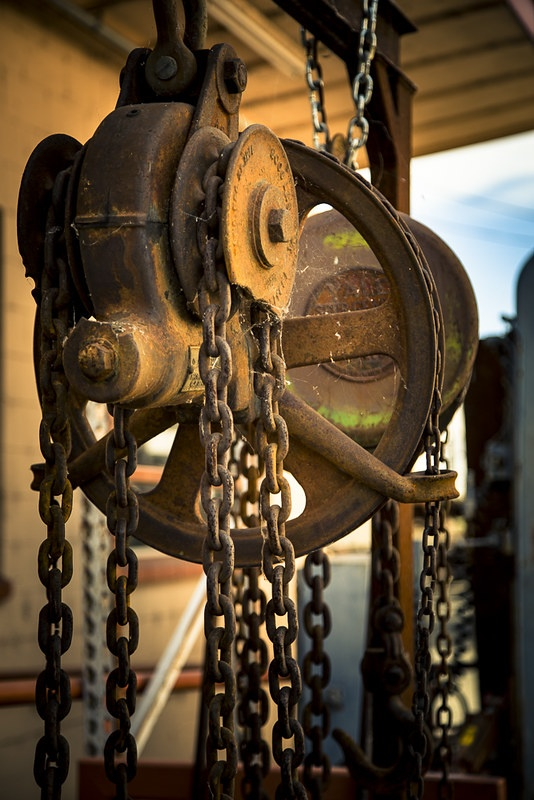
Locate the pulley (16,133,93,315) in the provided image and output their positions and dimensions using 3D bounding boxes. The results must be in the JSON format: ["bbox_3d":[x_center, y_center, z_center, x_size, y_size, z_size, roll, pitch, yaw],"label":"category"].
[{"bbox_3d":[-0.609,-0.507,3.766,0.139,0.447,0.183,2,-4,13],"label":"pulley"}]

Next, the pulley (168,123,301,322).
[{"bbox_3d":[-0.049,-0.468,3.611,0.226,0.463,0.454,1,-5,31],"label":"pulley"}]
